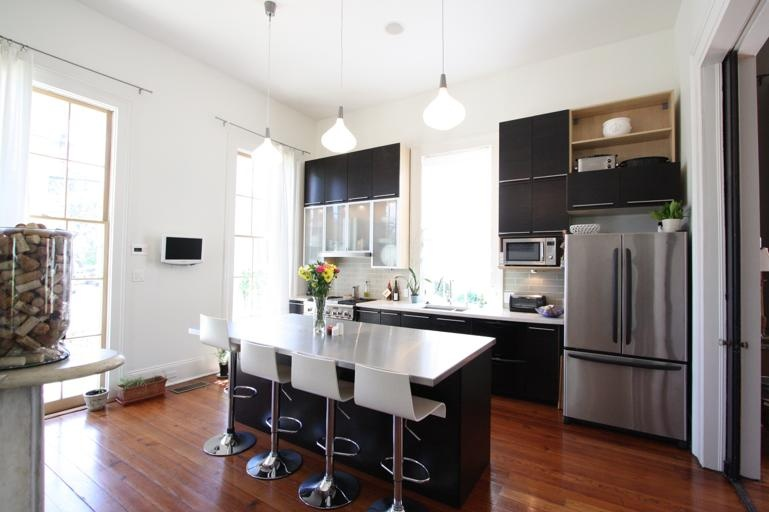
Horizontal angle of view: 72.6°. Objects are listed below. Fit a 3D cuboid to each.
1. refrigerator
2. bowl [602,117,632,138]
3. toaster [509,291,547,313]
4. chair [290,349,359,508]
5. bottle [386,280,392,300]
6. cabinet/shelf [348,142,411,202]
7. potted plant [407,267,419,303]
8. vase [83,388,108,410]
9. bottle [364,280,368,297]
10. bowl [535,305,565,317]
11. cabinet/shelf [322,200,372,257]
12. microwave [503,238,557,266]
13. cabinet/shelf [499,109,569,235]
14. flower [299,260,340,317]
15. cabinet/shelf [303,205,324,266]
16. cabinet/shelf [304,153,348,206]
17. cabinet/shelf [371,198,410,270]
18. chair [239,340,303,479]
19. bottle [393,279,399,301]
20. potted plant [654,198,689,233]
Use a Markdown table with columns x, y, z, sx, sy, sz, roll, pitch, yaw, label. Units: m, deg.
| x | y | z | sx | sy | sz | roll | pitch | yaw | label |
| --- | --- | --- | --- | --- | --- | --- | --- | --- | --- |
| 2.606 | 0.829 | 5.693 | 1.263 | 2.171 | 0.460 | 3 | 10 | 19 | refrigerator |
| 2.783 | -1.497 | 6.245 | 0.267 | 0.177 | 0.277 | -2 | 5 | 0 | bowl |
| 1.850 | 0.610 | 6.774 | 0.460 | 0.198 | 0.288 | 5 | 11 | 27 | toaster |
| -0.542 | 1.559 | 4.875 | 0.604 | 1.368 | 0.577 | -2 | 10 | -11 | chair |
| 0.073 | 0.528 | 7.938 | 0.115 | 0.272 | 0.212 | 0 | 10 | 1 | bottle |
| -0.049 | -1.217 | 7.779 | 0.917 | 0.797 | 0.332 | -1 | -3 | 31 | cabinet/shelf |
| 0.437 | 0.427 | 7.705 | 0.186 | 0.449 | 0.368 | -1 | 10 | -1 | potted plant |
| -3.367 | 1.664 | 6.092 | 0.223 | 0.160 | 0.225 | 0 | -6 | -6 | vase |
| -0.276 | 0.510 | 8.170 | 0.073 | 0.233 | 0.168 | -1 | 10 | -2 | bottle |
| 2.095 | 0.673 | 6.495 | 0.321 | 0.120 | 0.237 | -2 | 10 | -11 | bowl |
| -0.540 | -0.404 | 7.988 | 0.852 | 0.794 | 0.300 | -2 | -3 | 36 | cabinet/shelf |
| 1.843 | -0.044 | 6.603 | 0.555 | 0.352 | 0.349 | -1 | -3 | 32 | microwave |
| 1.892 | -1.035 | 6.646 | 0.891 | 1.548 | 0.347 | 3 | 10 | 19 | cabinet/shelf |
| -0.733 | 0.419 | 5.563 | 0.471 | 0.599 | 0.454 | -2 | 7 | 9 | flower |
| -1.193 | -0.290 | 8.496 | 0.377 | 1.006 | 0.247 | 6 | 20 | 10 | cabinet/shelf |
| -0.901 | -1.174 | 8.285 | 0.879 | 0.820 | 0.283 | -1 | -3 | 35 | cabinet/shelf |
| 0.072 | -0.332 | 7.722 | 0.499 | 1.001 | 0.374 | -1 | 10 | -2 | cabinet/shelf |
| -1.073 | 1.486 | 5.218 | 0.671 | 1.254 | 0.665 | 1 | 3 | 13 | chair |
| 0.186 | 0.514 | 7.889 | 0.090 | 0.285 | 0.164 | 0 | 10 | 1 | bottle |
| 3.122 | -0.408 | 5.721 | 0.303 | 0.305 | 0.282 | -6 | -5 | 33 | potted plant |
